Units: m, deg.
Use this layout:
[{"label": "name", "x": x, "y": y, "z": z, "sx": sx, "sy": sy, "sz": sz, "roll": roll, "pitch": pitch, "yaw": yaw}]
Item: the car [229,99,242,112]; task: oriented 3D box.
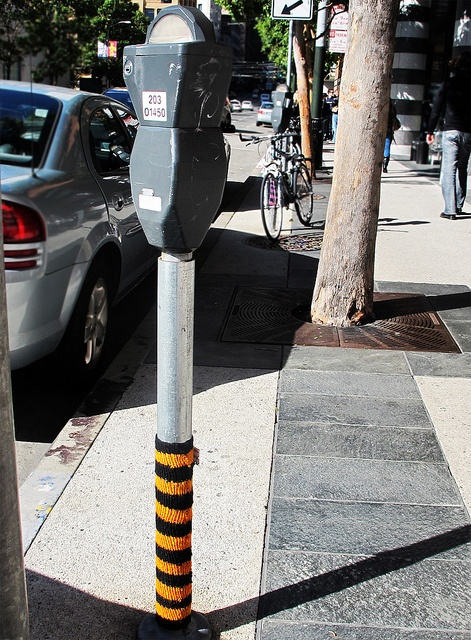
[{"label": "car", "x": -0.042, "y": -27.568, "z": 66.702, "sx": 1.482, "sy": 1.185, "sz": 3.427, "roll": 2, "pitch": 25, "yaw": 5}]
